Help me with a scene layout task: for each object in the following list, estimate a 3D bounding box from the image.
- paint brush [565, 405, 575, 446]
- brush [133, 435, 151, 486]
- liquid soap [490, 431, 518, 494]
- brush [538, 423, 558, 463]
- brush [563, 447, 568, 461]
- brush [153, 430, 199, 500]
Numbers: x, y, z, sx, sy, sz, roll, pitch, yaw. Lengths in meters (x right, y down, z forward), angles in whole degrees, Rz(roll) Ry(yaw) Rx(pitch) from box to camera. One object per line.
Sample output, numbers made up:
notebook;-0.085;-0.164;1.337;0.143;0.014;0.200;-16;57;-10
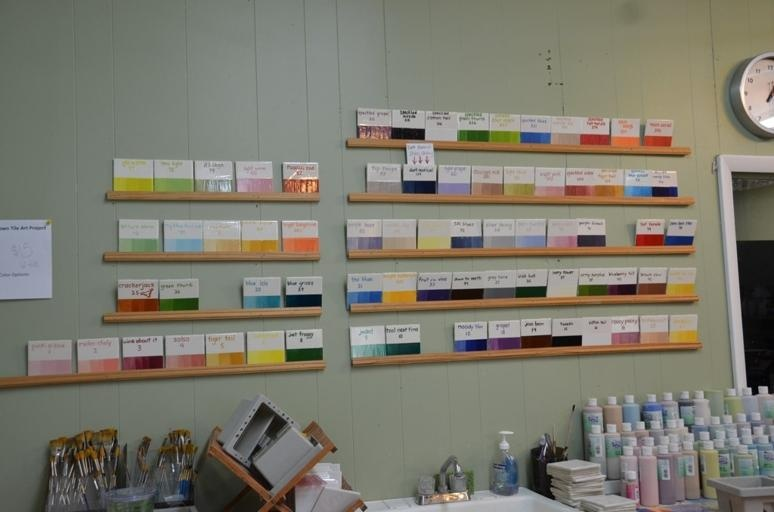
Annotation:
paint brush;0.947;0.857;3.730;0.031;0.254;0.027;16;-7;-33
brush;-1.130;0.941;3.329;0.080;0.206;0.115;-1;-3;-19
liquid soap;0.582;1.022;3.614;0.142;0.301;0.145;-3;-3;10
brush;0.814;0.952;3.662;0.117;0.149;0.095;-2;-3;-8
brush;0.910;1.006;3.686;0.014;0.068;0.096;-3;-3;21
brush;-0.968;0.985;3.268;0.186;0.247;0.123;-2;-3;-14
